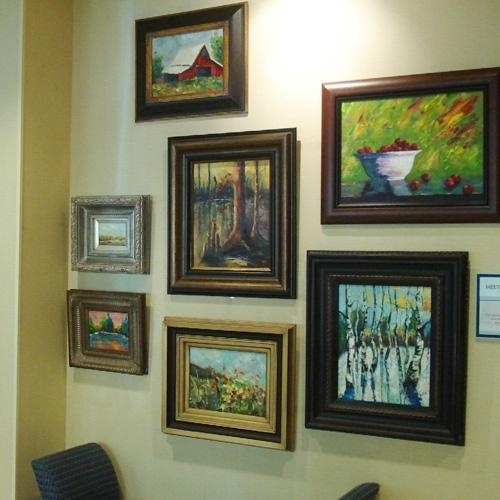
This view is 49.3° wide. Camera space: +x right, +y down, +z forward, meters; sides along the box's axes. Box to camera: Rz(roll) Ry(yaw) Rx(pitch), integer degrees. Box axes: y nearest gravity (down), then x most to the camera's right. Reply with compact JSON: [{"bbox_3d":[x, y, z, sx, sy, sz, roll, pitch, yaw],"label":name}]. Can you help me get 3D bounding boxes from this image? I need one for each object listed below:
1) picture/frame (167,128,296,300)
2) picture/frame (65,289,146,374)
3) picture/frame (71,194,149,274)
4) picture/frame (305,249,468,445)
[{"bbox_3d":[-0.051,-0.093,1.427,0.350,0.426,0.035,1,1,18],"label":"picture/frame"},{"bbox_3d":[-0.405,0.228,1.533,0.244,0.222,0.020,1,1,19],"label":"picture/frame"},{"bbox_3d":[-0.392,-0.043,1.531,0.237,0.216,0.054,1,1,21],"label":"picture/frame"},{"bbox_3d":[0.347,0.235,1.315,0.367,0.561,0.034,0,-2,22],"label":"picture/frame"}]
